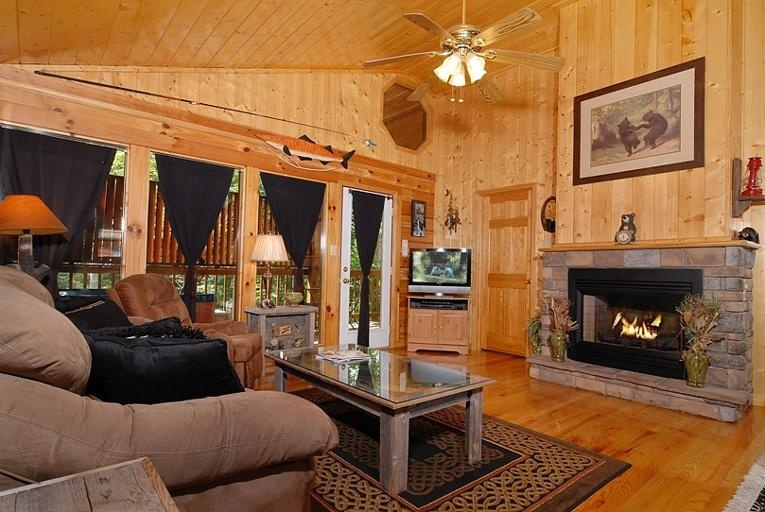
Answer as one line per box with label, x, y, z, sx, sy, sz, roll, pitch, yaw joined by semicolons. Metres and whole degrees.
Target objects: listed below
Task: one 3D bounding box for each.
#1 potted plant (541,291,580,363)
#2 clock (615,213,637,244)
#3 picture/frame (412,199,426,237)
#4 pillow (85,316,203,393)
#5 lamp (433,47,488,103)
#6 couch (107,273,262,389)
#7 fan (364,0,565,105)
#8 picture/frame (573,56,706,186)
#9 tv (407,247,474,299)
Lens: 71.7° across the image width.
potted plant;1.900;0.772;5.888;0.285;0.654;0.482;-8;16;-30
clock;2.511;-0.281;5.430;0.184;0.307;0.191;8;15;25
picture/frame;0.538;-0.539;7.643;0.118;0.536;0.361;14;19;42
pillow;-1.282;0.608;3.048;0.475;0.152;0.471;-3;22;-25
lamp;0.672;-1.611;4.545;0.401;0.271;0.310;-6;15;-26
couch;-1.731;0.619;5.067;1.377;1.290;0.985;0;3;-12
fan;0.937;-2.244;5.749;1.467;1.175;1.276;1;-10;-6
picture/frame;2.691;-1.377;5.411;0.051;1.212;1.530;2;-5;-39
tv;0.803;0.237;7.227;0.718;0.494;0.183;1;-9;8
